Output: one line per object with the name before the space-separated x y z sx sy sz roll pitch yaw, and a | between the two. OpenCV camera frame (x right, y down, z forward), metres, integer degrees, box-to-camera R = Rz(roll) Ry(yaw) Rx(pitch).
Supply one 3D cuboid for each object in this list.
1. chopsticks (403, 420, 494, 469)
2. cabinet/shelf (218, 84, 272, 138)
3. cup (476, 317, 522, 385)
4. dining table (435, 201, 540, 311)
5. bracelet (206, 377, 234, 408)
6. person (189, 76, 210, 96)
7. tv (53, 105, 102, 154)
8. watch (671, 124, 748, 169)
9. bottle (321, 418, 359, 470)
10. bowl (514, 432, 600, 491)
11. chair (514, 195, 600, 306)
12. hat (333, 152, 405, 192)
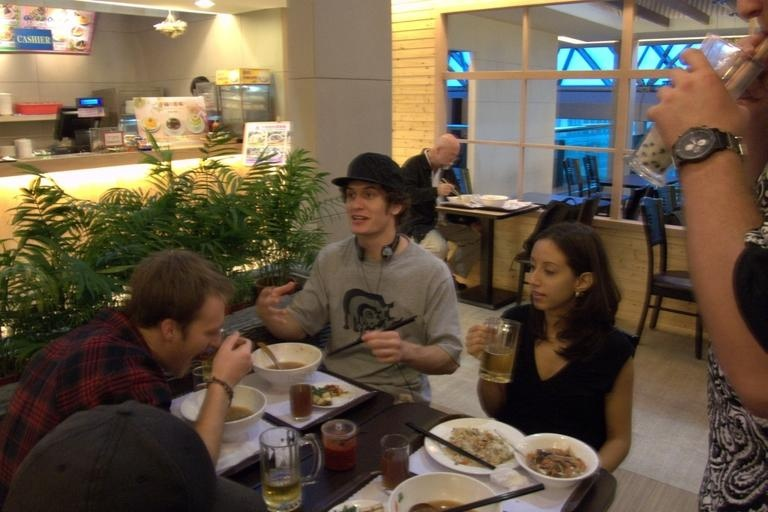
chopsticks | 0.206 0.602 1.586 0.290 0.019 0.027 20 63 31
cabinet/shelf | -1.976 -2.072 7.142 0.624 0.731 0.583 -10 19 -28
cup | 0.411 0.349 1.787 0.118 0.268 0.121 -4 12 1
dining table | 1.111 -0.149 6.326 1.229 1.345 1.257 14 23 40
bracelet | -0.508 0.428 1.580 0.095 0.090 0.026 30 48 21
person | -2.709 -2.519 7.312 0.214 0.342 0.750 -9 12 -21
tv | -3.771 -1.562 6.185 0.526 0.575 1.470 -12 14 -37
watch | 0.486 -0.166 0.758 0.077 0.053 0.079 8 -18 -29
bottle | -0.134 0.573 1.514 0.134 0.127 0.124 -3 13 -15
bowl | 0.526 0.633 1.512 0.222 0.066 0.227 -5 12 1
chair | 1.700 0.008 5.323 0.921 1.055 0.870 -8 0 42
hat | -0.068 -0.363 2.328 0.275 0.117 0.196 12 -9 -21
